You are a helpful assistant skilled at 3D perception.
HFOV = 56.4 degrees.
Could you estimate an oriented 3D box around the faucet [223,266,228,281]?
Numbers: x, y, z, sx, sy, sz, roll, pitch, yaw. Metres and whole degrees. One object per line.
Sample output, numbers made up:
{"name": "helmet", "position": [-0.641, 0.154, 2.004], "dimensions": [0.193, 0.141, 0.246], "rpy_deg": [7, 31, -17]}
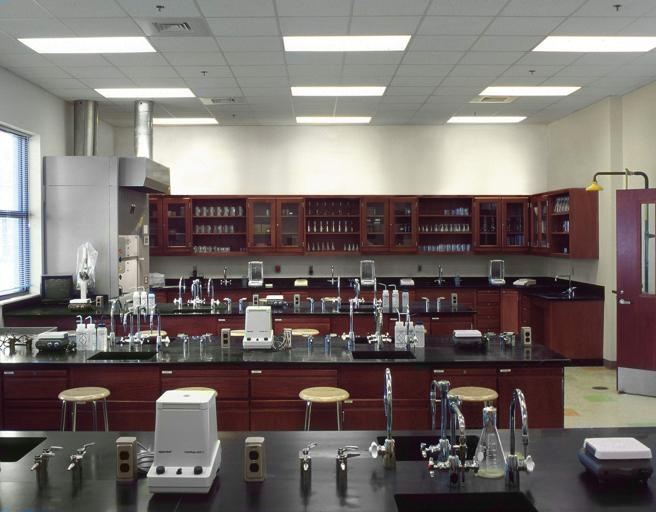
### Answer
{"name": "faucet", "position": [-1.732, 0.301, 10.332], "dimensions": [0.071, 0.227, 0.211], "rpy_deg": [-3, 10, -10]}

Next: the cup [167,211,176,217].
{"name": "cup", "position": [-2.555, -0.702, 10.008], "dimensions": [0.112, 0.084, 0.041], "rpy_deg": [-3, 10, -10]}

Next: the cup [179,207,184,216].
{"name": "cup", "position": [-2.392, -0.734, 10.019], "dimensions": [0.081, 0.164, 0.054], "rpy_deg": [0, 10, 4]}

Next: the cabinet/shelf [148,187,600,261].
{"name": "cabinet/shelf", "position": [0.693, -0.554, 9.943], "dimensions": [6.668, 1.146, 1.275], "rpy_deg": [0, 10, 8]}

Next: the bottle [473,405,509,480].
{"name": "bottle", "position": [0.978, 1.128, 3.690], "dimensions": [0.182, 0.427, 0.095], "rpy_deg": [1, 10, 13]}

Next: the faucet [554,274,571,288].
{"name": "faucet", "position": [3.792, 0.396, 9.848], "dimensions": [0.272, 0.278, 0.188], "rpy_deg": [0, 3, 1]}
